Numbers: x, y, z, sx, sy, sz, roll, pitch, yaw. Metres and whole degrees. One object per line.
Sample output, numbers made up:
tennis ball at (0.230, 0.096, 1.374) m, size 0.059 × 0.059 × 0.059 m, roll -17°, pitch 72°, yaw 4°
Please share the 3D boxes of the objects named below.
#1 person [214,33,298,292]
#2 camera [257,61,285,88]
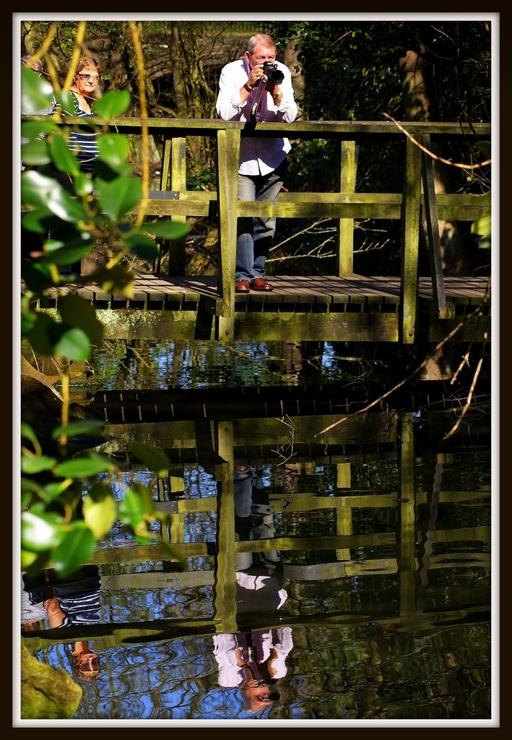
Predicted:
person at (0.003, -1.250, 6.646) m, size 0.471 × 1.534 × 0.729 m, roll -1°, pitch 9°, yaw 2°
camera at (0.097, -1.735, 6.422) m, size 0.121 × 0.145 × 0.132 m, roll -1°, pitch 9°, yaw -4°
